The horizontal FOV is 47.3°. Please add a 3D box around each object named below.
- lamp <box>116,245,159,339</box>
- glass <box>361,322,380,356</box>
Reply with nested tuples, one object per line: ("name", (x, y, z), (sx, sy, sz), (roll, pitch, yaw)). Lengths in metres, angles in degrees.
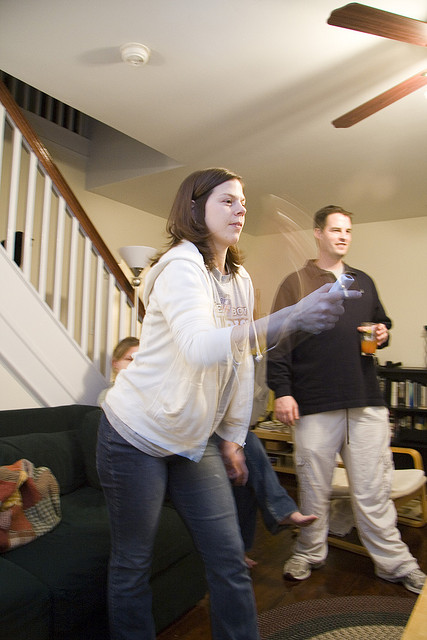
("lamp", (-0.611, -0.131, 3.717), (0.220, 0.545, 0.213), (7, 1, 24))
("glass", (0.596, 0.073, 1.861), (0.061, 0.125, 0.135), (-4, -9, 17))
